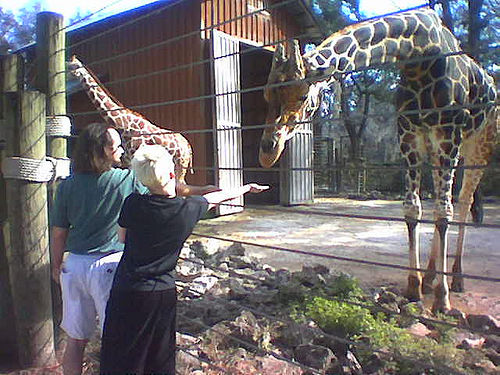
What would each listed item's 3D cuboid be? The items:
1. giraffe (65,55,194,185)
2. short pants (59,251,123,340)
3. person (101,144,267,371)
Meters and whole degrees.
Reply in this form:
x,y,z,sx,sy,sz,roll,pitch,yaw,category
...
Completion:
x,y,z,sx,sy,sz,roll,pitch,yaw,category
-1.668,-0.934,5.132,1.674,1.667,1.199,0,2,-13,giraffe
-1.053,0.703,2.597,0.423,0.656,0.344,2,9,-9,short pants
-0.504,0.605,3.119,1.216,2.422,0.719,15,23,13,person
